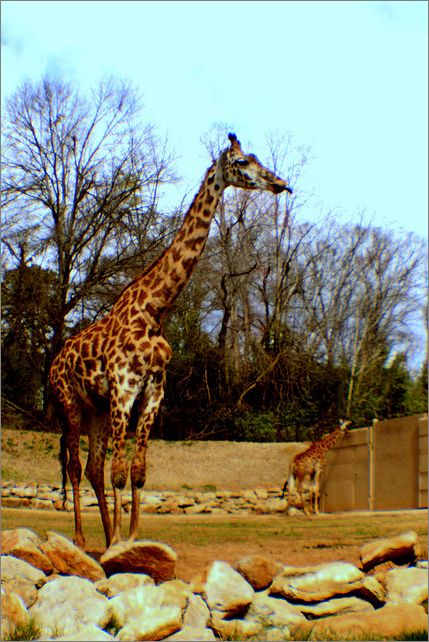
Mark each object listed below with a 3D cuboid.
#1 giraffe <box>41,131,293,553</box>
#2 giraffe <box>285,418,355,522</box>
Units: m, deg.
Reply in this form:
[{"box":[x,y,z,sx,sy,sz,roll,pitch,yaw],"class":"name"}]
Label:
[{"box":[-0.817,0.252,12.242,1.513,4.814,2.941,6,-6,-30],"class":"giraffe"},{"box":[1.873,2.746,19.686,0.921,1.645,2.063,1,-6,18],"class":"giraffe"}]
